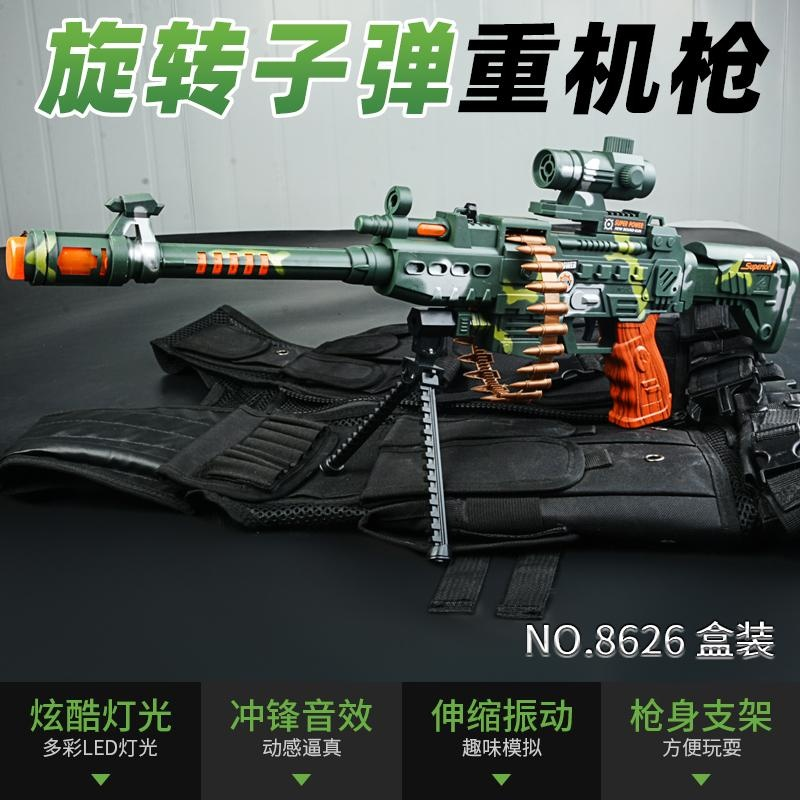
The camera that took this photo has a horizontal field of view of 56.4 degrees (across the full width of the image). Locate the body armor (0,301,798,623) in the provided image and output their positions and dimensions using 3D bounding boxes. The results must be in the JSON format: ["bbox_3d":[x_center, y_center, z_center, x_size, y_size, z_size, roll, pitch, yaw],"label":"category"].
[{"bbox_3d":[0.031,0.046,1.333,1.290,0.403,0.713,1,5,16],"label":"body armor"}]
